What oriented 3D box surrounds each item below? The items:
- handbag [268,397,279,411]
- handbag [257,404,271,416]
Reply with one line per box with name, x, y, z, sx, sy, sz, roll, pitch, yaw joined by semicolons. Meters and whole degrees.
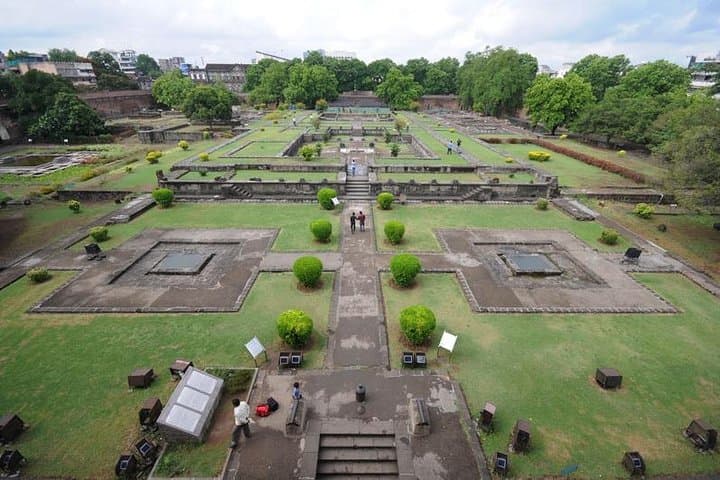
handbag;-3.649;6.793;13.060;0.363;0.363;0.391;49;30;19
handbag;-4.022;6.998;12.974;0.567;0.388;0.380;-3;30;-8
